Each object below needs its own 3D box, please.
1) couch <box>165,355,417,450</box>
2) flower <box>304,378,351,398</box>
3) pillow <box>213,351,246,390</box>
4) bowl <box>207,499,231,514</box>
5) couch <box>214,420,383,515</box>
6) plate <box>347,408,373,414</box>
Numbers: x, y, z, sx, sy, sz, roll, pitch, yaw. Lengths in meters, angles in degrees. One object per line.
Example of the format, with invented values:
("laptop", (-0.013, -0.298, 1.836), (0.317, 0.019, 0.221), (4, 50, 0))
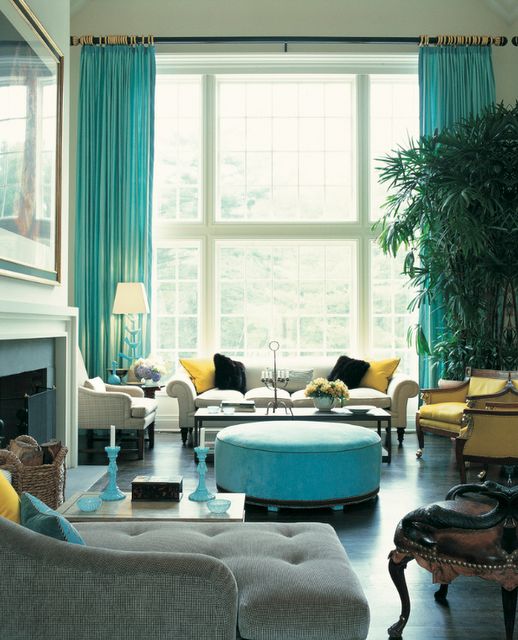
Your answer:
("couch", (0.290, 0.802, 6.128), (2.328, 0.880, 0.772), (0, -9, -2))
("flower", (0.587, 0.575, 5.152), (0.225, 0.136, 0.239), (2, -7, 1))
("pillow", (-0.309, 0.529, 6.168), (0.348, 0.351, 0.115), (16, -33, -40))
("bowl", (-0.163, 0.791, 2.590), (0.110, 0.050, 0.094), (-1, -1, -23))
("couch", (0.262, 0.940, 4.114), (1.175, 0.511, 1.202), (0, -2, 8))
("plate", (0.791, 0.723, 4.860), (0.159, 0.055, 0.101), (-1, -1, 7))
